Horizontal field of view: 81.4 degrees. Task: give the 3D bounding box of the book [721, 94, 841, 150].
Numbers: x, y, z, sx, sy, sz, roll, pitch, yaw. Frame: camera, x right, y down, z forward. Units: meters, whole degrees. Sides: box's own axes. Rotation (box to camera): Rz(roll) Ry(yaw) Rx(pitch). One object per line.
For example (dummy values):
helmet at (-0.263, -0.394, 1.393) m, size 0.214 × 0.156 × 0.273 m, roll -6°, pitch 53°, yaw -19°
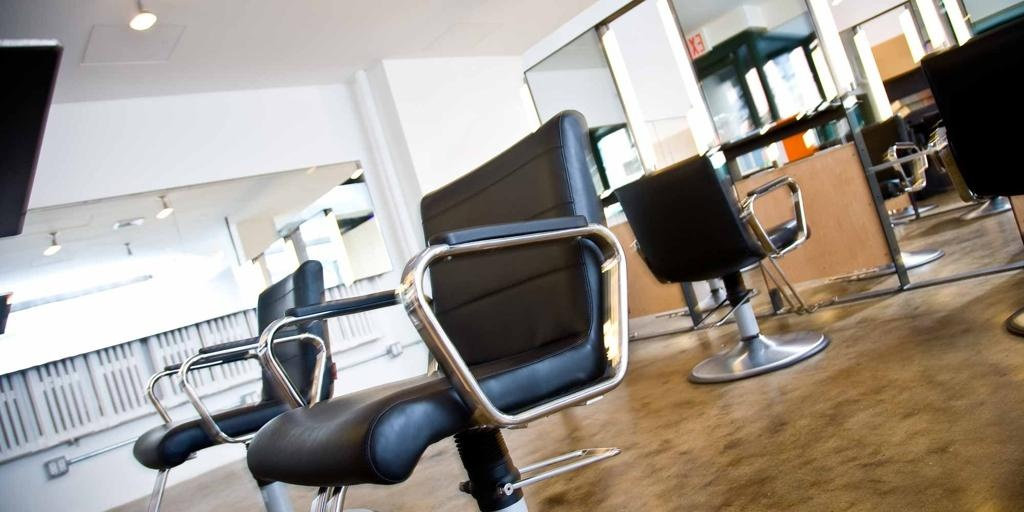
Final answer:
book at (2.523, -1.172, 5.496) m, size 0.663 × 0.141 × 0.417 m, roll -14°, pitch 7°, yaw 39°
